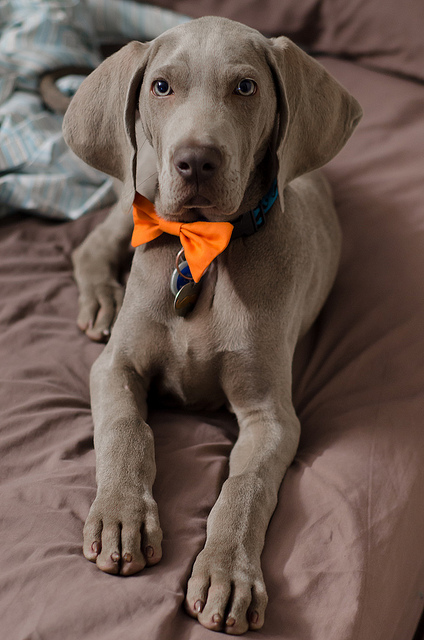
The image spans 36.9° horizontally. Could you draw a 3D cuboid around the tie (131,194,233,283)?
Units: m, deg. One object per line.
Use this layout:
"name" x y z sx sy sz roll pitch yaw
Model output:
"tie" -0.039 -0.171 1.317 0.278 0.080 0.183 17 53 28
